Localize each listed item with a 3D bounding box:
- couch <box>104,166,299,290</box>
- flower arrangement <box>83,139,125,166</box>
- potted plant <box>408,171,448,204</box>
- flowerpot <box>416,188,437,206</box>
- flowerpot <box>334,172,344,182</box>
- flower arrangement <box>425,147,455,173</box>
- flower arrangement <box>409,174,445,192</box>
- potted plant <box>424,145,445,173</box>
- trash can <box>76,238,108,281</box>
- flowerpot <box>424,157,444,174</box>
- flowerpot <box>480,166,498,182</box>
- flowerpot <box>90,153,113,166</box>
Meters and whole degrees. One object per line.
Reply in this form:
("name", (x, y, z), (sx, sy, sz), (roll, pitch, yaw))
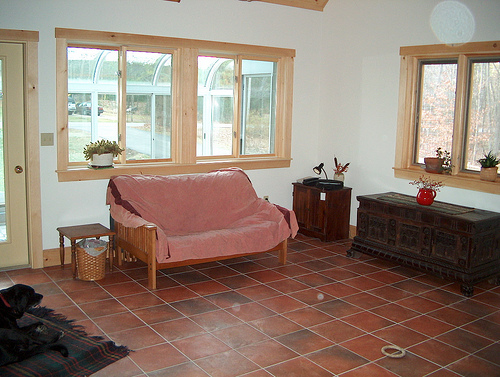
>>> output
("couch", (-0.568, 0.395, 4.826), (2.126, 1.044, 1.247), (-5, 14, -33))
("flower arrangement", (-1.894, -0.459, 4.965), (0.378, 0.260, 0.393), (1, 10, -13))
("potted plant", (2.275, -0.011, 4.926), (0.481, 0.363, 0.442), (1, -2, 16))
("flowerpot", (2.156, 0.103, 4.713), (0.254, 0.199, 0.183), (4, 0, -9))
("flowerpot", (1.384, -0.185, 5.951), (0.123, 0.102, 0.114), (2, -1, -10))
("flower arrangement", (2.514, -0.366, 5.061), (0.234, 0.332, 0.296), (-3, 13, -22))
("flower arrangement", (2.271, -0.058, 4.889), (0.245, 0.106, 0.269), (-1, 9, 1))
("potted plant", (2.491, -0.362, 5.171), (0.265, 0.291, 0.287), (1, 6, -28))
("trash can", (-1.799, 0.775, 4.443), (0.449, 0.448, 0.478), (0, 5, -33))
("flowerpot", (2.422, -0.303, 5.090), (0.205, 0.206, 0.282), (-1, 3, -39))
("flowerpot", (2.867, -0.176, 4.608), (0.190, 0.128, 0.186), (3, 4, 9))
("flowerpot", (-1.851, -0.352, 4.860), (0.203, 0.108, 0.191), (0, 4, -22))
